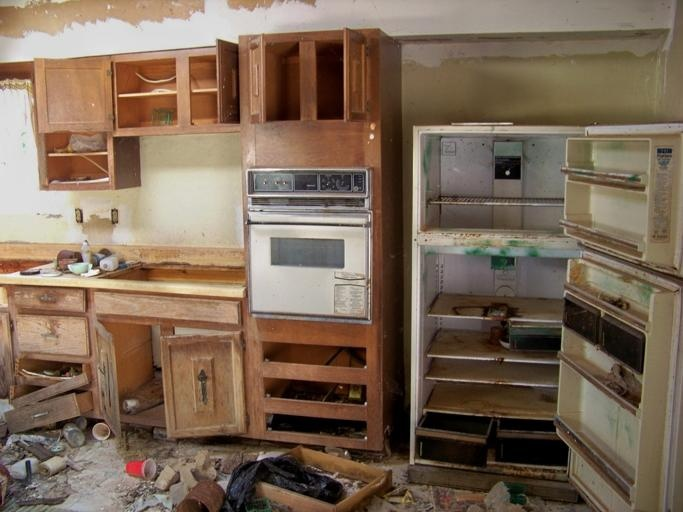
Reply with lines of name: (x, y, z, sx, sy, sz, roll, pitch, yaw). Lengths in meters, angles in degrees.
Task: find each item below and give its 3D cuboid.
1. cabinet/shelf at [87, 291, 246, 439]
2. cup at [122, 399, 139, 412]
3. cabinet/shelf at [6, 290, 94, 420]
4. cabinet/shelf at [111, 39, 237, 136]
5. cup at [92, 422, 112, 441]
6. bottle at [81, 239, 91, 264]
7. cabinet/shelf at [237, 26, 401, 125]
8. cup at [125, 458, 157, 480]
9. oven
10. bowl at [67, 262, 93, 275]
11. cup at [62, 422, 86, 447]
cabinet/shelf: (-1.322, 0.816, 4.785, 1.418, 1.195, 0.800, 4, 11, 20)
cup: (-1.742, 1.239, 4.721, 0.115, 0.087, 0.083, 11, -2, -33)
cabinet/shelf: (-2.410, 0.793, 4.707, 0.724, 1.073, 0.523, 9, 17, 41)
cabinet/shelf: (-1.304, -1.290, 4.546, 1.151, 0.607, 0.571, 3, 12, 17)
cup: (-1.947, 1.424, 4.691, 0.174, 0.158, 0.123, 0, 11, 2)
bottle: (-2.198, -0.030, 4.905, 0.072, 0.161, 0.220, -9, 14, -26)
cabinet/shelf: (-0.181, -1.284, 4.198, 1.139, 0.582, 0.758, 3, 13, 12)
cup: (-1.476, 1.552, 4.202, 0.206, 0.147, 0.152, -2, -15, 17)
oven: (-0.138, -0.102, 4.426, 1.054, 1.127, 0.890, 1, 6, 13)
bowl: (-2.228, 0.105, 4.800, 0.239, 0.093, 0.117, 0, 13, 9)
cup: (-2.138, 1.432, 4.569, 0.113, 0.074, 0.220, 17, 1, -37)
